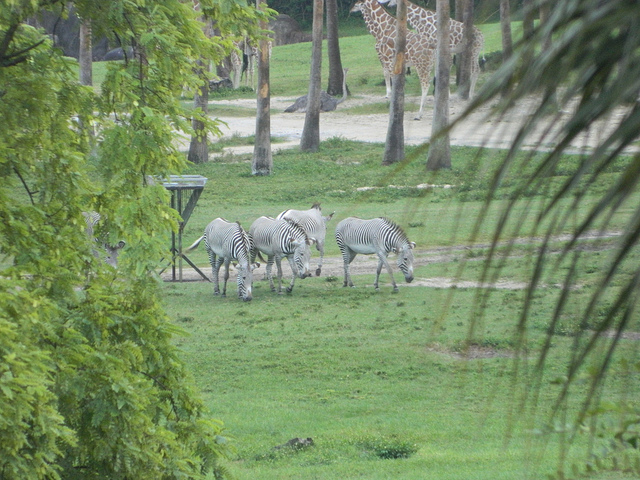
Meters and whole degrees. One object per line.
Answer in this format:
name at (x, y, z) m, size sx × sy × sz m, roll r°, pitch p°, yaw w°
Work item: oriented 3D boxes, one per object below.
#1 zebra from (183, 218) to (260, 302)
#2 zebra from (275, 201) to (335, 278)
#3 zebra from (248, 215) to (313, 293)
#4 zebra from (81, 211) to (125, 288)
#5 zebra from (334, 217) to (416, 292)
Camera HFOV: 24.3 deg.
zebra at (-1.828, 0.251, 27.557) m, size 0.530 × 1.471 × 2.869 m, roll -3°, pitch 11°, yaw -27°
zebra at (-0.205, -0.044, 28.935) m, size 0.534 × 1.290 × 2.115 m, roll -6°, pitch 1°, yaw 20°
zebra at (-0.754, 0.231, 27.254) m, size 0.549 × 1.447 × 2.073 m, roll -3°, pitch 9°, yaw -32°
zebra at (-2.541, 0.102, 17.436) m, size 0.297 × 0.757 × 1.240 m, roll 2°, pitch 42°, yaw -22°
zebra at (0.931, 0.200, 26.601) m, size 1.757 × 1.392 × 0.487 m, roll 6°, pitch 10°, yaw 41°
